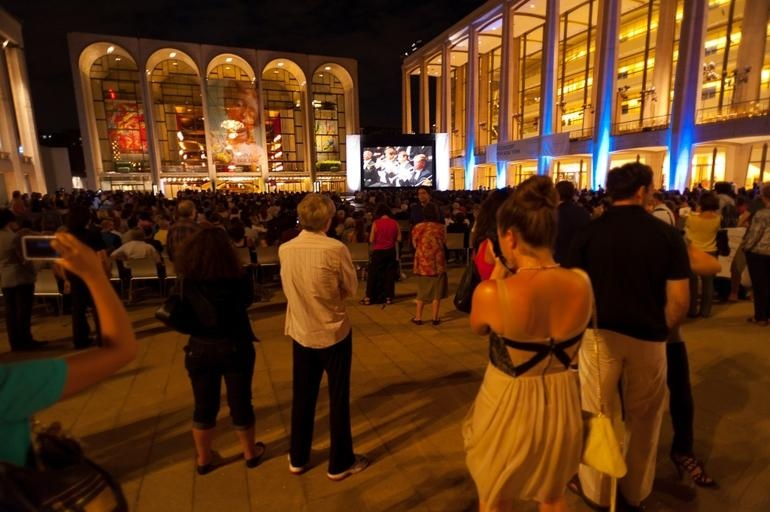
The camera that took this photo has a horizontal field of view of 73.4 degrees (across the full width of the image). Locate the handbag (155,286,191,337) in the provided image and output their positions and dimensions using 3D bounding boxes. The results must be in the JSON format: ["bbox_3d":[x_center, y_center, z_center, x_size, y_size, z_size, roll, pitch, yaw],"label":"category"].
[{"bbox_3d":[-1.957,0.517,4.856,0.313,0.408,0.434,3,-7,24],"label":"handbag"}]

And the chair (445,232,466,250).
[{"bbox_3d":[1.595,-0.344,11.575,0.409,0.318,0.428,0,3,23],"label":"chair"}]

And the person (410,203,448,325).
[{"bbox_3d":[0.684,0.109,8.134,0.557,1.922,0.390,-2,10,2],"label":"person"}]

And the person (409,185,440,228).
[{"bbox_3d":[0.686,-0.783,8.634,0.514,0.761,0.385,0,2,23],"label":"person"}]

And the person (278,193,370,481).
[{"bbox_3d":[-0.625,0.812,4.992,0.791,2.811,0.373,-5,10,-12],"label":"person"}]

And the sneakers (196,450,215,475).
[{"bbox_3d":[-1.799,2.086,5.176,0.136,0.108,0.297,7,42,-6],"label":"sneakers"}]

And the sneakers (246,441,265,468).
[{"bbox_3d":[-1.323,2.054,5.288,0.110,0.112,0.275,6,28,-3],"label":"sneakers"}]

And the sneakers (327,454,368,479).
[{"bbox_3d":[-0.357,2.087,5.145,0.336,0.135,0.181,-9,6,-26],"label":"sneakers"}]

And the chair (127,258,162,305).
[{"bbox_3d":[-4.567,0.474,9.788,0.637,0.919,0.660,-2,23,-18],"label":"chair"}]
